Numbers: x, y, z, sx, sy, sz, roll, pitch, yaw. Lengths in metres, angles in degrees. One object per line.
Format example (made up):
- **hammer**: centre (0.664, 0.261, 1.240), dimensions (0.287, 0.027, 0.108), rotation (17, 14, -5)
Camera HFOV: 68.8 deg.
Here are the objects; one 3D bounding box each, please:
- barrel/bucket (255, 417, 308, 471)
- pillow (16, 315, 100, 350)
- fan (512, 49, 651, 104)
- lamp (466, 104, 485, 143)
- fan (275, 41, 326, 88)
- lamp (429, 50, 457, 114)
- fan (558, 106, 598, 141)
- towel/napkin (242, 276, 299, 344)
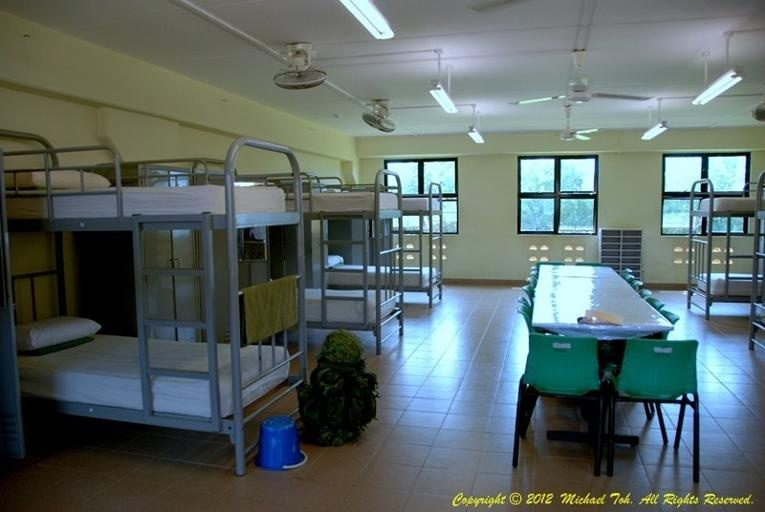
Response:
- **barrel/bucket**: centre (-0.947, 1.731, 5.194), dimensions (0.471, 0.296, 0.427), rotation (6, 7, 38)
- **pillow**: centre (-3.501, 0.783, 5.857), dimensions (0.340, 0.153, 0.573), rotation (17, 8, 23)
- **fan**: centre (2.976, -2.510, 7.583), dimensions (1.509, 0.546, 1.735), rotation (-8, 13, 12)
- **lamp**: centre (1.799, -2.469, 10.771), dimensions (0.358, 0.399, 1.166), rotation (0, -1, 14)
- **fan**: centre (-1.001, -2.266, 6.608), dimensions (0.565, 0.535, 0.719), rotation (-4, 14, -10)
- **lamp**: centre (0.803, -2.236, 7.631), dimensions (0.263, 0.343, 0.926), rotation (-1, -13, 18)
- **fan**: centre (3.855, -2.656, 11.037), dimensions (0.881, 0.617, 0.865), rotation (-8, 7, -43)
- **towel/napkin**: centre (-1.132, 0.530, 5.618), dimensions (0.173, 0.547, 1.049), rotation (1, 4, 19)
